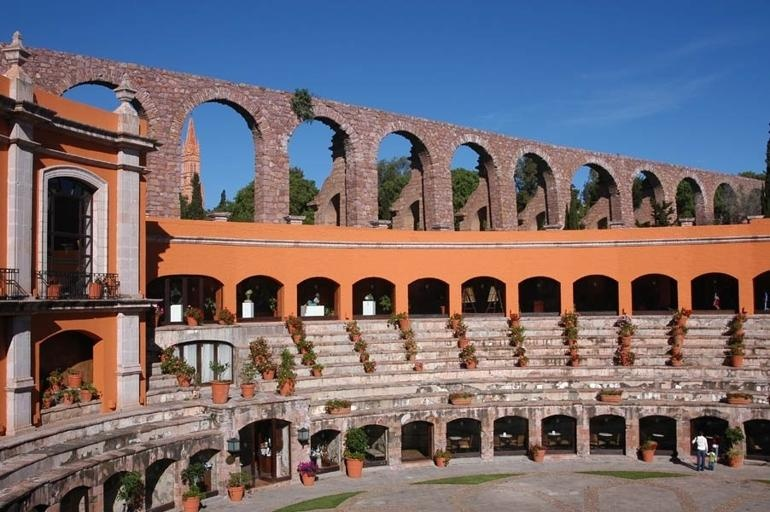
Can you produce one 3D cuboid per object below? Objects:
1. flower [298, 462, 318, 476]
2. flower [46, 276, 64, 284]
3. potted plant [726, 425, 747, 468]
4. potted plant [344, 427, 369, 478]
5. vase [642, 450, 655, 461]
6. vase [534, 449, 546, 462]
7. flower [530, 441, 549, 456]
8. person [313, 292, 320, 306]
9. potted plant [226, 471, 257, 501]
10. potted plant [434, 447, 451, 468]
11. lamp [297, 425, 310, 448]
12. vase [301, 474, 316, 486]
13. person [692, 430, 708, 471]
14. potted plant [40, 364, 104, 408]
[{"bbox_3d":[-3.294,8.996,40.987,0.651,0.423,0.616,-1,0,19],"label":"flower"},{"bbox_3d":[-12.845,0.866,37.221,0.287,0.348,0.522,-2,-3,23],"label":"flower"},{"bbox_3d":[15.907,8.518,43.303,0.706,1.676,1.046,0,1,27],"label":"potted plant"},{"bbox_3d":[-1.249,8.485,41.965,1.003,2.117,0.544,-1,1,-3],"label":"potted plant"},{"bbox_3d":[12.120,9.035,43.774,0.534,0.378,0.505,0,-9,0],"label":"vase"},{"bbox_3d":[7.124,9.051,43.807,0.533,0.384,0.519,0,-9,0],"label":"vase"},{"bbox_3d":[7.122,8.804,44.096,0.630,0.568,0.625,-4,-6,20],"label":"flower"},{"bbox_3d":[-3.523,2.192,49.948,0.543,0.777,0.443,0,-11,3],"label":"person"},{"bbox_3d":[-5.964,9.338,39.343,0.895,1.117,0.593,-1,1,-33],"label":"potted plant"},{"bbox_3d":[2.619,9.089,43.394,0.725,0.693,0.710,-1,-2,4],"label":"potted plant"},{"bbox_3d":[-3.445,7.683,41.106,0.559,0.853,0.474,-1,1,-33],"label":"lamp"},{"bbox_3d":[-3.278,9.487,40.981,0.528,0.375,0.515,1,-4,2],"label":"vase"},{"bbox_3d":[14.386,8.619,43.438,0.696,1.525,2.338,0,1,18],"label":"person"},{"bbox_3d":[-12.578,5.116,38.111,2.312,1.296,1.216,-1,1,-32],"label":"potted plant"}]
